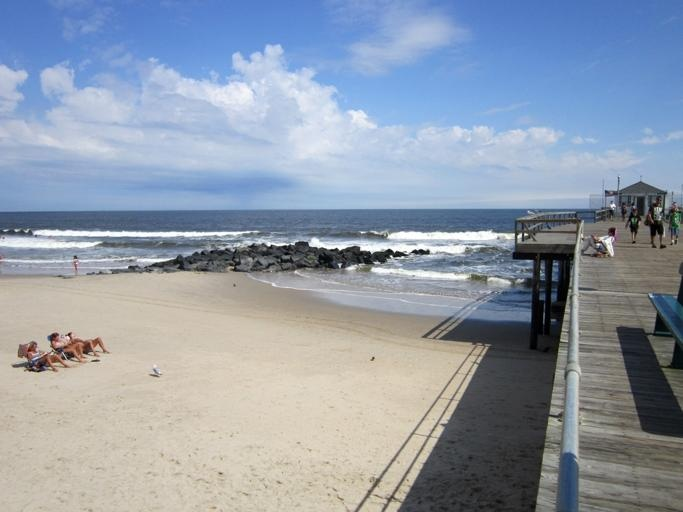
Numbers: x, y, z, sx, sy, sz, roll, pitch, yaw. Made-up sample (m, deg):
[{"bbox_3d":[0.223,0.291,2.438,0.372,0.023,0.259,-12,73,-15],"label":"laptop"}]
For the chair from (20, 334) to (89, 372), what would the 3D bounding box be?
[{"bbox_3d":[-7.085,2.375,10.804,0.783,0.685,1.163,8,10,38],"label":"chair"}]

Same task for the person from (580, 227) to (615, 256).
[{"bbox_3d":[8.328,-0.432,14.191,0.939,0.819,1.437,7,9,30],"label":"person"}]

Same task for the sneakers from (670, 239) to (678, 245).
[{"bbox_3d":[12.577,-0.520,16.648,0.144,0.163,0.592,-19,-1,28],"label":"sneakers"}]
